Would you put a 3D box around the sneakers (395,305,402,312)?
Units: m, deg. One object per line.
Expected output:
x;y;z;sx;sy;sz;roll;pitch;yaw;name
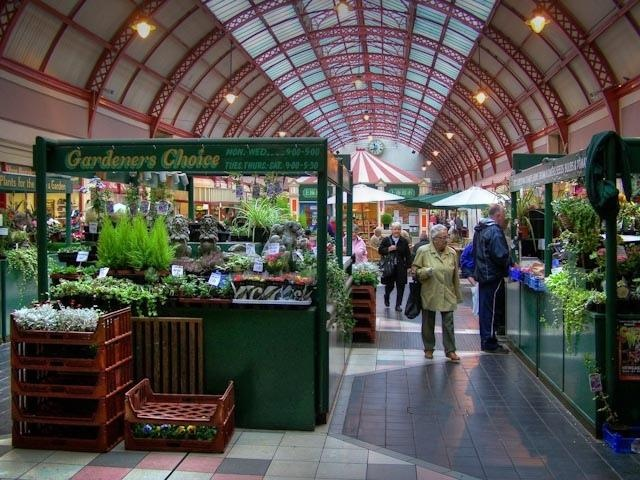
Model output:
1.712;1.523;10.396;0.123;0.136;0.334;-2;-9;3;sneakers

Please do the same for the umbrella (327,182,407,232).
1.149;-1.231;13.488;1.672;1.153;1.705;3;5;28;umbrella

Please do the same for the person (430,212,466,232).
6.407;-0.918;23.181;1.371;0.506;1.392;2;-1;2;person

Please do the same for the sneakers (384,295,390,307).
1.515;1.417;10.710;0.136;0.240;0.057;-8;-12;42;sneakers

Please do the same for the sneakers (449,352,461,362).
1.921;1.673;6.692;0.084;0.112;0.247;0;-19;-1;sneakers

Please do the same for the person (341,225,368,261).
0.674;0.133;9.956;0.579;0.826;0.516;-1;9;-10;person

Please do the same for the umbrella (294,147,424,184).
1.659;-1.993;13.756;1.996;1.000;2.037;0;-1;27;umbrella

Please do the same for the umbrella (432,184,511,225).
4.560;-1.194;14.173;1.632;0.802;1.731;-1;6;24;umbrella

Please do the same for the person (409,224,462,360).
1.683;0.763;6.768;0.728;1.941;0.472;0;2;-7;person

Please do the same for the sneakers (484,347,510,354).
2.702;1.690;7.157;0.345;0.169;0.129;-2;0;6;sneakers
